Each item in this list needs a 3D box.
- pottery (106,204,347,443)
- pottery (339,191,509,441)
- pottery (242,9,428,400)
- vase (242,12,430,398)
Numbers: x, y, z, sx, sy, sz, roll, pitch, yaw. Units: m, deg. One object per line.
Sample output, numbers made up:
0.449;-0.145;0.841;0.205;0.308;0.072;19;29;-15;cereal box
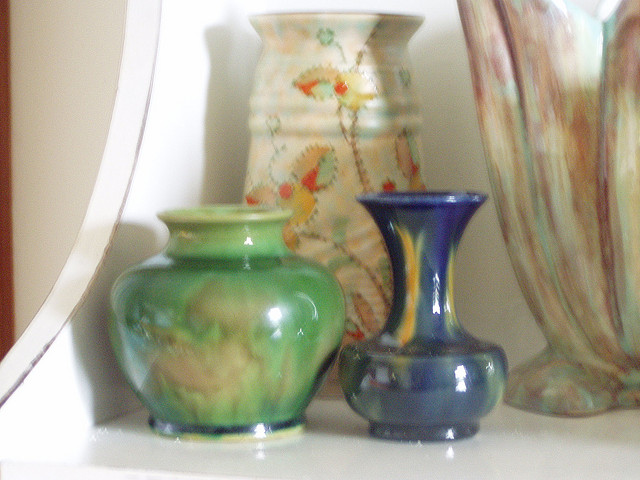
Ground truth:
-0.070;0.070;0.618;0.183;0.184;0.168;-1;-10;-1;pottery
0.083;0.061;0.570;0.120;0.191;0.129;0;2;17;pottery
0.013;-0.023;0.724;0.160;0.379;0.126;-6;10;-34;pottery
-0.001;-0.051;0.733;0.194;0.352;0.199;-5;11;-42;vase
